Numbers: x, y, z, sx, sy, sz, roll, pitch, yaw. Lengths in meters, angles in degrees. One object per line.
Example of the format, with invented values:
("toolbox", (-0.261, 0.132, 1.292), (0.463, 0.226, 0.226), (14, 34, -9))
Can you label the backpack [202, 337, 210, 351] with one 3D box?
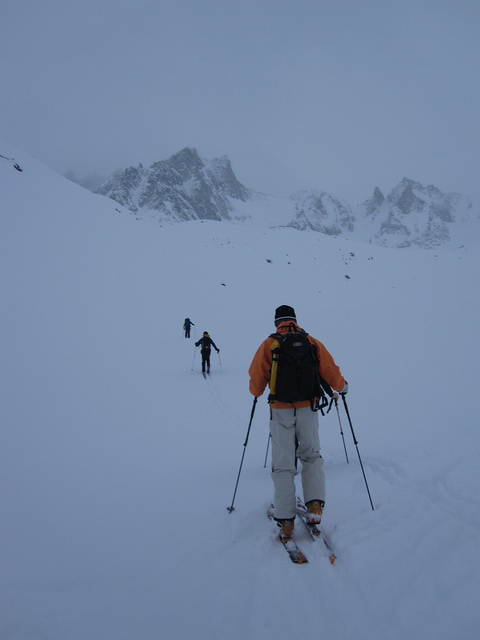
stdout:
("backpack", (-1.108, 0.657, 19.963), (0.291, 0.477, 0.248), (1, -7, -5))

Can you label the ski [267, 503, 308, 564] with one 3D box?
("ski", (0.558, 3.073, 10.166), (0.199, 1.268, 0.170), (-2, -80, -9))

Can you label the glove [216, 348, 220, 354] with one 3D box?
("glove", (-0.787, 0.897, 21.073), (0.043, 0.188, 0.184), (4, -86, 40))

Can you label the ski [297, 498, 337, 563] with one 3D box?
("ski", (1.012, 3.008, 10.226), (0.163, 1.328, 0.153), (-41, -69, 8))

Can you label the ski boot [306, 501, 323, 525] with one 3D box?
("ski boot", (0.936, 2.771, 10.162), (0.210, 0.314, 0.308), (1, -17, -2))
